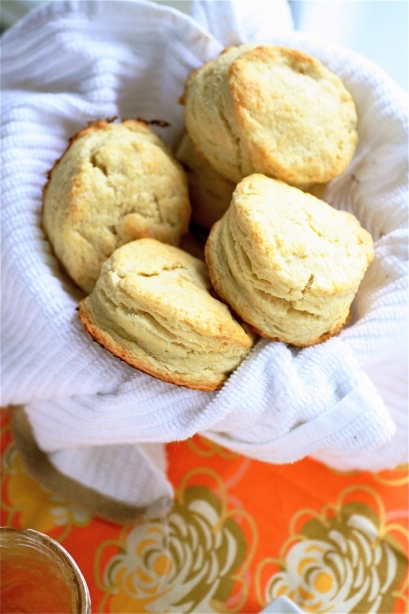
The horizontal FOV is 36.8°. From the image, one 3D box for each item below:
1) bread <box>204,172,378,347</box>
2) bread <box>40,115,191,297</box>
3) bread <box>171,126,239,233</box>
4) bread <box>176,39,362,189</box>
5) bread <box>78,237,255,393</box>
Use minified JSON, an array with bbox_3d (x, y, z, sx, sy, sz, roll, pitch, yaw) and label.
[{"bbox_3d":[0.072,-0.032,0.548,0.138,0.064,0.132,6,35,-31],"label":"bread"},{"bbox_3d":[-0.074,-0.081,0.558,0.153,0.153,0.048,-5,3,-26],"label":"bread"},{"bbox_3d":[0.009,-0.130,0.644,0.070,0.093,0.031,35,65,27],"label":"bread"},{"bbox_3d":[0.059,-0.167,0.559,0.154,0.103,0.102,1,49,9],"label":"bread"},{"bbox_3d":[-0.025,0.000,0.558,0.173,0.071,0.157,6,31,-31],"label":"bread"}]
